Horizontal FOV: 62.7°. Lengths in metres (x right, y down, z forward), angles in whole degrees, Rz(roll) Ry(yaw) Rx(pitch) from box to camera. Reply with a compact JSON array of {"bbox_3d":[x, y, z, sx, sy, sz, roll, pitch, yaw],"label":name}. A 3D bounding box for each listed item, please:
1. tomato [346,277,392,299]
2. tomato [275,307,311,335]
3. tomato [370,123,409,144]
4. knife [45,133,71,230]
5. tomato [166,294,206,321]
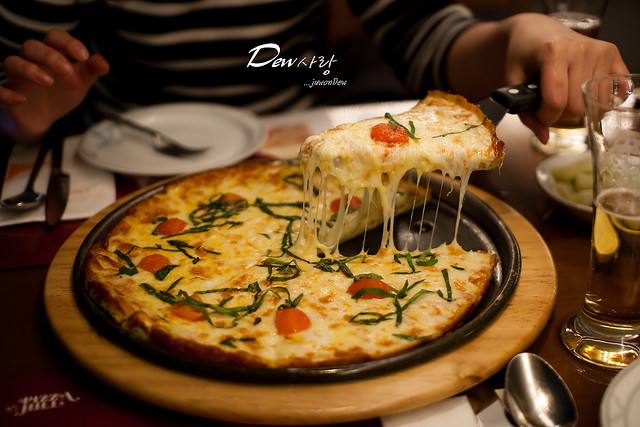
[{"bbox_3d":[0.238,0.360,2.559,0.219,0.073,0.112,6,50,9],"label":"tomato"},{"bbox_3d":[-0.130,0.495,2.435,0.165,0.041,0.136,-5,48,-1],"label":"tomato"},{"bbox_3d":[0.351,-0.410,2.662,0.198,0.050,0.120,4,49,7],"label":"tomato"},{"bbox_3d":[-1.602,-0.165,3.197,0.125,0.040,0.755,1,34,-21],"label":"knife"},{"bbox_3d":[-0.639,0.442,2.546,0.148,0.043,0.151,11,16,-46],"label":"tomato"}]
